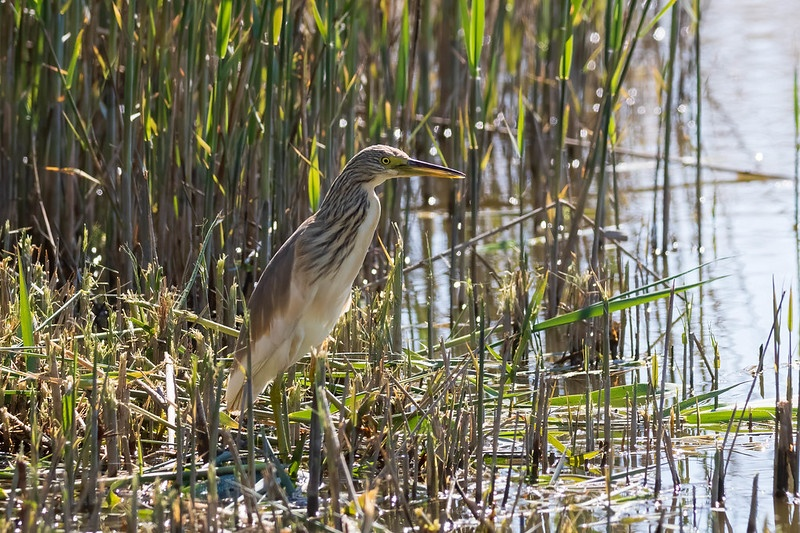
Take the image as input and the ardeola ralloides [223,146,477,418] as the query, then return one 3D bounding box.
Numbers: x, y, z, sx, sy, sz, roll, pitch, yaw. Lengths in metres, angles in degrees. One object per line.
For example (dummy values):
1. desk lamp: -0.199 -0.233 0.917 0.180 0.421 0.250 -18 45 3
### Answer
1. ardeola ralloides: -0.356 0.032 5.905 0.848 1.360 0.348 4 -7 -18
